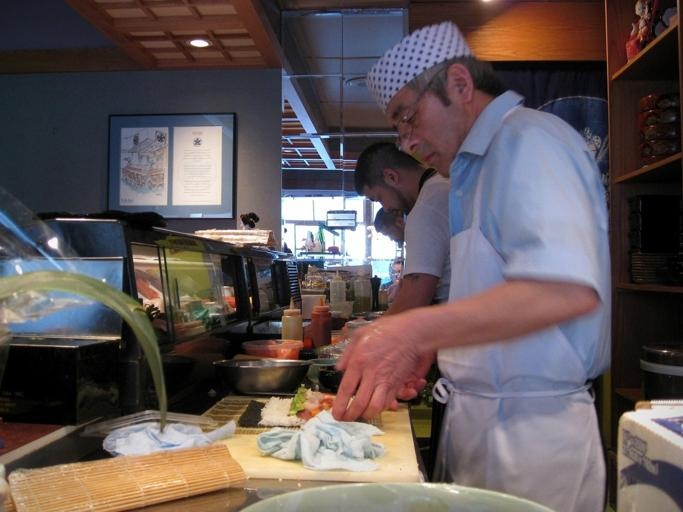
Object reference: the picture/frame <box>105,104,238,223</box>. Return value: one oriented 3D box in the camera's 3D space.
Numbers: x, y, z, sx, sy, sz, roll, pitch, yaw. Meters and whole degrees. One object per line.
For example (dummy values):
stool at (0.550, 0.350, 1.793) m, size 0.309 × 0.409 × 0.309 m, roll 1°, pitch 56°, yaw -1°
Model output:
picture/frame at (-1.415, -0.779, 4.721) m, size 1.266 × 0.977 × 0.050 m, roll 1°, pitch -1°, yaw 0°

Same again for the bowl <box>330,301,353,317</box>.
bowl at (0.009, 0.380, 3.844) m, size 0.122 × 0.092 × 0.043 m, roll 10°, pitch -17°, yaw -35°

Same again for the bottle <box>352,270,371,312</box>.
bottle at (0.193, 0.309, 4.412) m, size 0.198 × 0.289 × 0.184 m, roll -1°, pitch -3°, yaw 0°

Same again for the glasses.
glasses at (0.281, -0.462, 1.712) m, size 0.064 × 0.216 × 0.166 m, roll 21°, pitch -9°, yaw 22°

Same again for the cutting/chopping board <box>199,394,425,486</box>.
cutting/chopping board at (-0.056, 0.518, 1.546) m, size 0.522 × 0.055 × 0.527 m, roll -1°, pitch -2°, yaw 3°

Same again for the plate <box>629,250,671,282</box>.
plate at (1.644, 0.022, 2.931) m, size 0.141 × 0.143 × 0.211 m, roll -1°, pitch 2°, yaw -35°

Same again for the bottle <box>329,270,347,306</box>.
bottle at (-0.046, 0.268, 4.371) m, size 0.167 × 0.439 × 0.154 m, roll 1°, pitch -2°, yaw 0°

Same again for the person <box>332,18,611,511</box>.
person at (0.371, -0.023, 1.509) m, size 0.656 × 1.502 × 0.587 m, roll -2°, pitch -2°, yaw 26°

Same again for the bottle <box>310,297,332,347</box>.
bottle at (-0.093, 0.324, 2.557) m, size 0.095 × 0.184 × 0.311 m, roll -1°, pitch -2°, yaw -3°

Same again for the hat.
hat at (0.278, -0.627, 1.889) m, size 0.372 × 0.156 × 0.310 m, roll -15°, pitch -10°, yaw -20°
